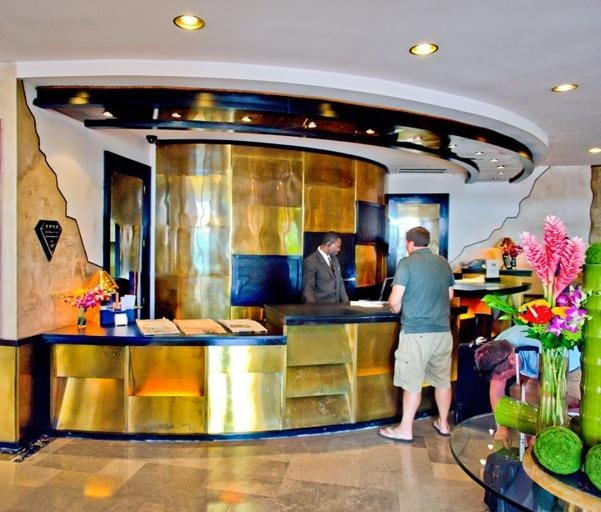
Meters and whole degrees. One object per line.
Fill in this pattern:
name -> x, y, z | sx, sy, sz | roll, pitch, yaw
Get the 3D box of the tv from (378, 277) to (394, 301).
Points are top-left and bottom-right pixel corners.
tv -> 0.940, 0.372, 5.959 | 0.043, 0.295, 0.416 | 8, 9, 22

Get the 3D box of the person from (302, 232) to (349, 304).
person -> 0.230, 0.132, 5.725 | 0.577, 0.764, 0.360 | -8, 13, -42

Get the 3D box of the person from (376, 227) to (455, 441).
person -> 0.997, 0.666, 4.511 | 0.650, 1.789, 0.358 | -1, 10, -7

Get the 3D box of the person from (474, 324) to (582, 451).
person -> 1.369, 0.790, 3.211 | 0.435, 0.325, 0.757 | -28, -23, 24

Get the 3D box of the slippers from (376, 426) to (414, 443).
slippers -> 0.790, 1.492, 4.526 | 0.207, 0.068, 0.118 | 3, -1, 33

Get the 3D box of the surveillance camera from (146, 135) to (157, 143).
surveillance camera -> -1.786, -1.403, 6.456 | 0.130, 0.095, 0.246 | -2, 10, -16

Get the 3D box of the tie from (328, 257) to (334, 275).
tie -> 0.331, 0.112, 5.809 | 0.032, 0.128, 0.132 | 2, -3, 29

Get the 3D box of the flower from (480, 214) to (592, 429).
flower -> 1.222, 0.380, 2.729 | 0.455, 1.100, 0.422 | 7, -1, 0

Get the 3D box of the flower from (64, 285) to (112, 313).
flower -> -1.831, 0.349, 4.718 | 0.266, 0.143, 0.273 | 1, 1, -8
